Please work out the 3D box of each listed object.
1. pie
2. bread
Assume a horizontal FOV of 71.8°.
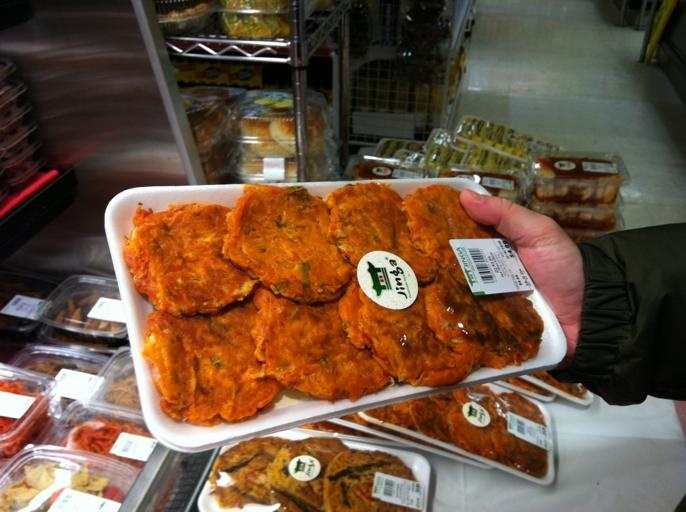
[{"bbox_3d":[-0.053,0.064,1.502,1.228,0.388,0.767,-10,47,-11],"label":"pie"},{"bbox_3d":[-0.417,-0.577,2.264,0.532,0.215,0.595,0,35,-4],"label":"bread"}]
